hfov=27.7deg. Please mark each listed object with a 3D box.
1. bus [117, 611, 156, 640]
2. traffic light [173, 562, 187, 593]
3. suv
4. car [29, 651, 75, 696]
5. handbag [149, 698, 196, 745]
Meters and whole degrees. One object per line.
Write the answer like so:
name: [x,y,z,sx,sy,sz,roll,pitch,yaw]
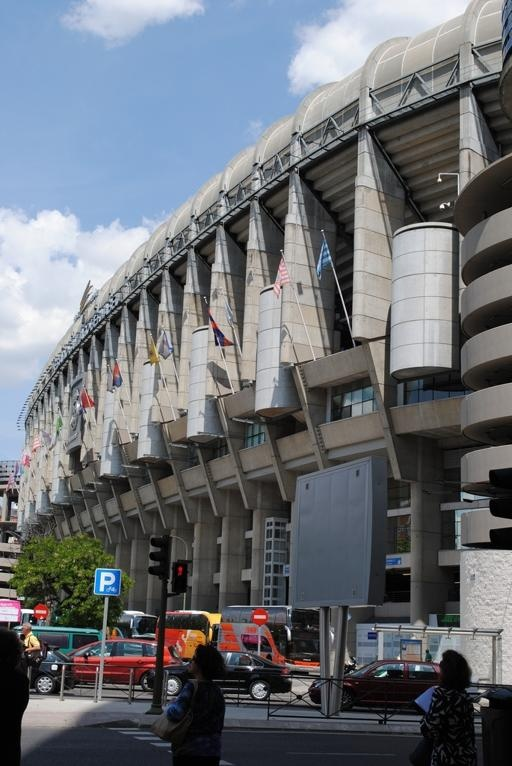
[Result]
bus: [-6.908,13.764,59.266,2.727,1.407,1.622,-8,-18,30]
traffic light: [-1.645,4.082,21.824,0.310,0.767,0.997,2,-16,-4]
suv: [-3.823,7.677,28.535,2.803,1.187,1.601,5,-18,-2]
car: [-5.174,7.260,25.945,1.608,0.795,0.965,2,-16,2]
handbag: [-0.618,2.494,7.563,0.295,0.249,0.204,1,-16,-1]
